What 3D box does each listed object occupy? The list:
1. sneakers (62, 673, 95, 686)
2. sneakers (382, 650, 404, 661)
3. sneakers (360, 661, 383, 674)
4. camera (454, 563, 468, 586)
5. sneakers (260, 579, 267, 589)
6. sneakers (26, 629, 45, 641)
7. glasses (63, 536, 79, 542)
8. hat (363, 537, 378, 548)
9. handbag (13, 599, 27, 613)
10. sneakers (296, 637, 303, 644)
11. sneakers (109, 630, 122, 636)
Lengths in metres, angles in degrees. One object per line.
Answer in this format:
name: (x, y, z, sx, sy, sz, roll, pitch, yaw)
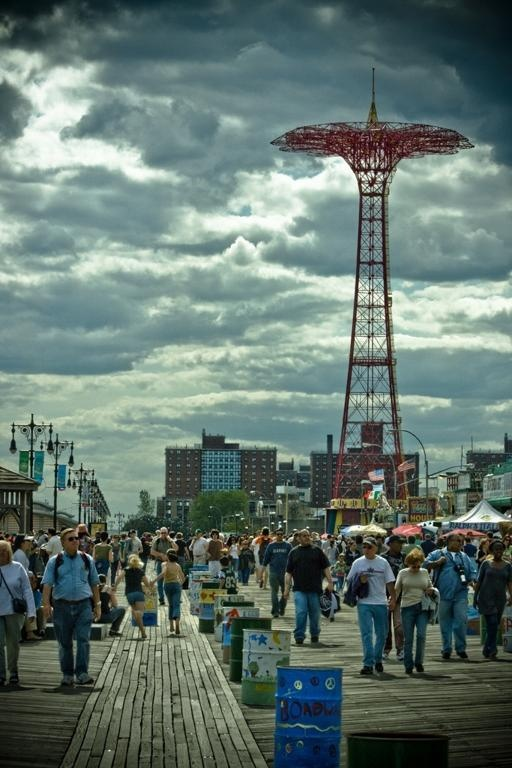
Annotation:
sneakers: (-2.033, 3.337, 12.533, 0.394, 0.154, 0.135, -4, -3, 6)
sneakers: (1.936, 3.857, 15.860, 0.164, 0.210, 0.483, 1, -13, -2)
sneakers: (1.437, 3.542, 13.900, 0.117, 0.151, 0.398, -5, -12, 31)
camera: (2.898, 2.698, 15.834, 0.180, 0.318, 0.079, -10, -6, -13)
sneakers: (0.211, 6.212, 34.593, 0.103, 0.129, 0.307, 0, -41, 7)
sneakers: (-3.538, 4.045, 17.949, 0.298, 0.215, 0.118, 0, 1, -6)
glasses: (-2.109, 1.766, 12.797, 0.084, 0.090, 0.291, -1, -5, 10)
hat: (1.424, 1.990, 14.063, 0.123, 0.094, 0.192, 1, -20, 20)
handbag: (-2.726, 2.552, 12.828, 0.151, 0.138, 0.058, 11, -22, -43)
sneakers: (0.668, 4.009, 17.367, 0.069, 0.115, 0.116, 8, -20, -20)
sneakers: (-2.408, 4.279, 19.119, 0.208, 0.086, 0.075, 1, 0, -15)
